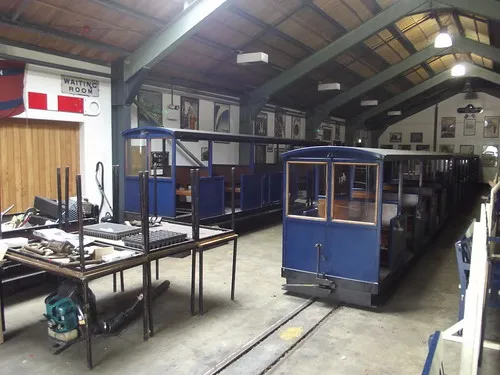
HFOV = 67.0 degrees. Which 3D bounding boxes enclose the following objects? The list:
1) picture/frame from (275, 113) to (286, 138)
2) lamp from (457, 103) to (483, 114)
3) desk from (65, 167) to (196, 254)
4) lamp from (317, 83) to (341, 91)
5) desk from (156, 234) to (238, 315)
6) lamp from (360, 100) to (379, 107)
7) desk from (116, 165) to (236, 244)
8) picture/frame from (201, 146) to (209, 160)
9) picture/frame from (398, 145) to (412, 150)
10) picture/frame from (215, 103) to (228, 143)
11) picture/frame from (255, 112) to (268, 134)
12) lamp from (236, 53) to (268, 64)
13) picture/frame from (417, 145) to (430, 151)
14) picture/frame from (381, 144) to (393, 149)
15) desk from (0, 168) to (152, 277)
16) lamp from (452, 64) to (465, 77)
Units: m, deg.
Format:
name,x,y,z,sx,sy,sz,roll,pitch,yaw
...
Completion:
name,x,y,z,sx,sy,sz,roll,pitch,yaw
picture/frame,1.591,-3.285,19.715,0.180,1.231,1.230,6,10,30
lamp,15.568,-5.621,26.884,1.551,0.677,0.504,6,10,28
desk,-2.111,0.577,6.631,2.234,1.016,1.313,4,0,41
lamp,3.709,-4.825,18.004,0.948,0.406,2.252,2,9,6
desk,-0.749,1.330,7.136,1.083,1.538,1.521,3,6,38
lamp,7.254,-5.210,23.053,0.911,0.347,1.833,4,10,19
desk,-1.511,0.356,6.269,0.657,1.111,1.753,-1,1,15
picture/frame,-1.747,-1.343,14.917,0.081,0.540,0.417,5,10,27
picture/frame,11.855,-3.157,29.046,0.860,0.343,0.971,3,9,14
picture/frame,-1.120,-2.921,15.778,0.113,1.155,1.065,6,10,31
picture/frame,0.526,-3.106,18.106,0.106,1.171,1.113,2,2,31
lamp,0.110,-4.263,12.423,1.085,0.460,0.367,2,3,27
picture/frame,13.060,-3.102,28.715,0.901,0.398,0.242,6,10,28
picture/frame,10.575,-3.298,29.925,1.177,0.275,0.942,-8,12,-42
desk,-3.365,0.630,7.217,2.313,1.870,0.982,1,1,43
lamp,8.437,-4.817,15.387,0.426,0.460,0.866,6,10,31
